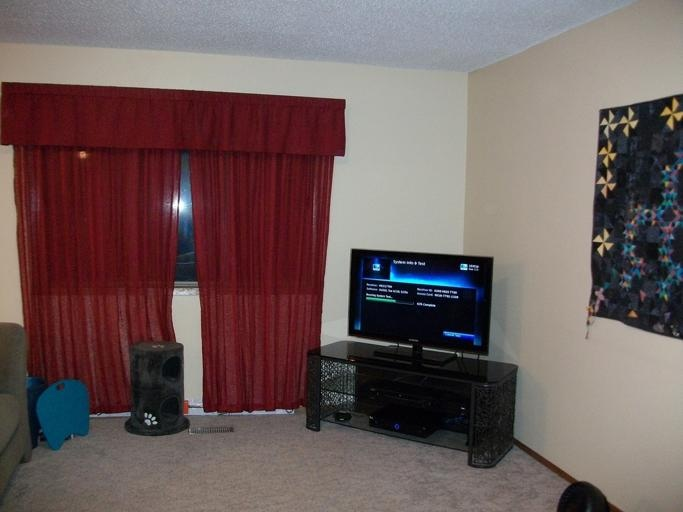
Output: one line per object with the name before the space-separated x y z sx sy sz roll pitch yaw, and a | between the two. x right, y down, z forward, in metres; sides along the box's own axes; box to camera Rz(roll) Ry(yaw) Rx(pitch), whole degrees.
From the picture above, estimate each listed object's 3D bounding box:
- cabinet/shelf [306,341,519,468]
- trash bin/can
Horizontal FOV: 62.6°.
cabinet/shelf | 0.507 1.189 4.745 1.622 0.728 0.664 4 3 20
trash bin/can | -1.506 1.078 4.619 0.520 0.655 0.552 1 -1 7
